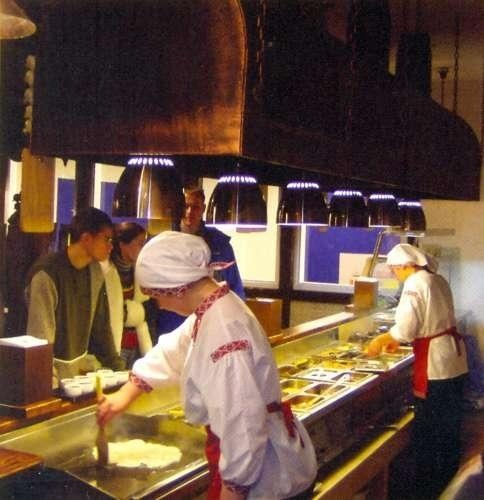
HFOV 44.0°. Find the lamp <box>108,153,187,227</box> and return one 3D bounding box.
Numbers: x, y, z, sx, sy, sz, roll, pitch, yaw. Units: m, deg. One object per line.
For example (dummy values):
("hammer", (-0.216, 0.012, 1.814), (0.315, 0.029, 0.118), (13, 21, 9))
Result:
("lamp", (-0.290, -0.175, 1.891), (0.201, 0.224, 0.197), (5, -12, -30))

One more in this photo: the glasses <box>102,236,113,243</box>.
("glasses", (-0.651, -0.058, 2.890), (0.037, 0.040, 0.028), (-24, 36, -22))

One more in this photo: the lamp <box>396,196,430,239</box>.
("lamp", (1.150, -0.228, 3.885), (0.126, 0.267, 0.135), (-3, -19, -27))

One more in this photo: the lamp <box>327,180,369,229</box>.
("lamp", (0.570, -0.228, 3.192), (0.202, 0.207, 0.212), (2, 3, 14))

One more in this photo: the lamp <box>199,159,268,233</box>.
("lamp", (-0.014, -0.180, 2.131), (0.181, 0.239, 0.196), (-1, 5, -5))

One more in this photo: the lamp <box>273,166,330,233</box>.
("lamp", (0.280, -0.208, 2.742), (0.204, 0.209, 0.219), (6, 6, 37))

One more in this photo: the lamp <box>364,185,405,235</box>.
("lamp", (0.825, -0.224, 3.512), (0.173, 0.213, 0.201), (-1, -6, -3))
